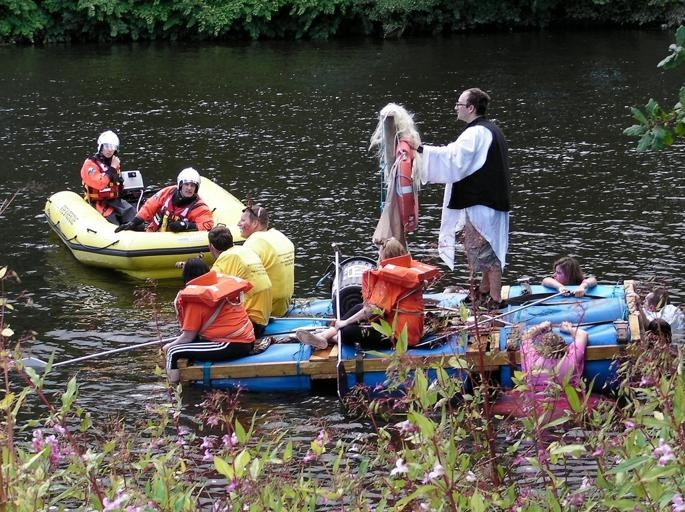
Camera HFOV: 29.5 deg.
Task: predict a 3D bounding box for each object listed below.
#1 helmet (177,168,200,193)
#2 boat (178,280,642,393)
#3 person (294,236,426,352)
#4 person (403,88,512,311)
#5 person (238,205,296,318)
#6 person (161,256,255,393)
[{"bbox_3d":[-2.064,-1.058,17.810,0.266,0.260,0.326,3,-8,-16],"label":"helmet"},{"bbox_3d":[1.020,1.015,14.371,4.957,1.123,2.712,1,10,13],"label":"boat"},{"bbox_3d":[0.402,0.412,14.386,1.192,1.190,1.302,-11,25,-40],"label":"person"},{"bbox_3d":[1.510,-0.687,15.058,1.197,2.465,1.228,5,7,43],"label":"person"},{"bbox_3d":[-0.860,0.053,15.457,0.702,1.256,0.694,10,11,41],"label":"person"},{"bbox_3d":[-1.566,0.712,14.614,1.093,1.301,1.026,19,24,41],"label":"person"}]
